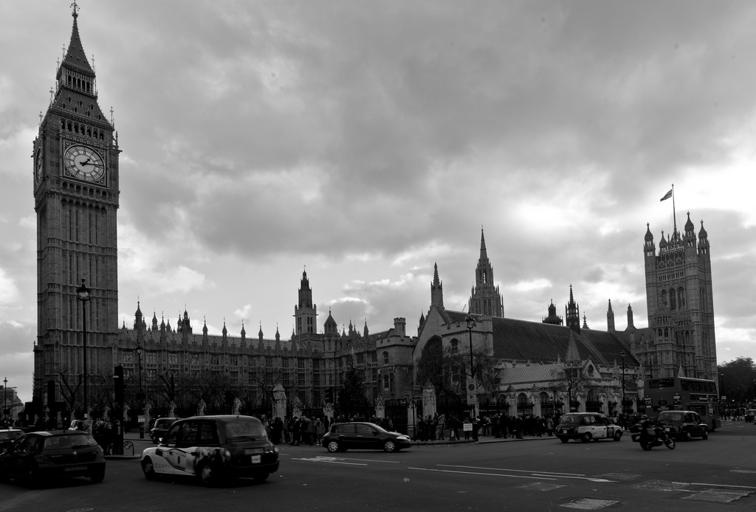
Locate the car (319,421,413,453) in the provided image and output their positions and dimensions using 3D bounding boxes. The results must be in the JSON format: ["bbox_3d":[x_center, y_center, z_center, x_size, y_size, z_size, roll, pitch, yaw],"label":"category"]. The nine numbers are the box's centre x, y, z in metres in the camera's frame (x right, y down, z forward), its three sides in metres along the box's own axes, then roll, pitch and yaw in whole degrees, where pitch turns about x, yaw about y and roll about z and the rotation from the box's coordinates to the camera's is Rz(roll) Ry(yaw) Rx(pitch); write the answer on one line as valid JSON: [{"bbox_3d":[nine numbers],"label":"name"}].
[{"bbox_3d":[-0.795,11.846,66.582,4.932,1.541,2.268,-2,-9,8],"label":"car"}]

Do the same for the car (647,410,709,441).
[{"bbox_3d":[21.777,12.084,73.215,4.223,1.729,2.243,2,-7,-41],"label":"car"}]

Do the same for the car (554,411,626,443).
[{"bbox_3d":[15.249,12.399,74.017,4.756,1.783,2.229,0,-4,-26],"label":"car"}]

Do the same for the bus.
[{"bbox_3d":[24.119,11.979,84.644,4.967,5.582,6.462,-8,-13,41],"label":"bus"}]

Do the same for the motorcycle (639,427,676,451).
[{"bbox_3d":[17.928,11.710,65.532,2.514,1.530,1.266,8,-18,-33],"label":"motorcycle"}]
